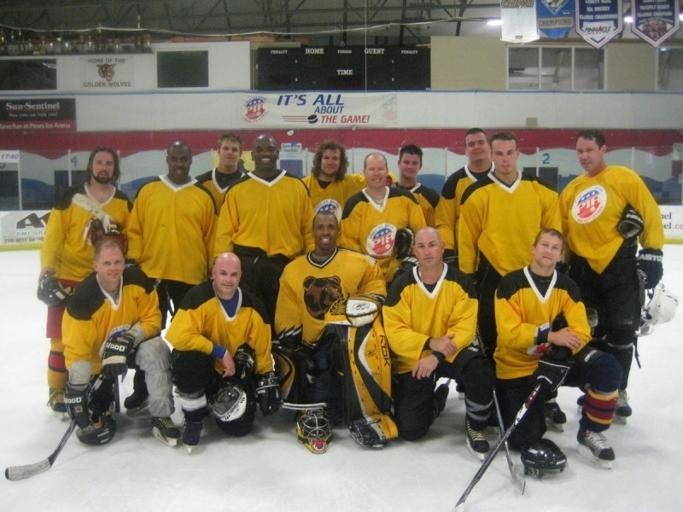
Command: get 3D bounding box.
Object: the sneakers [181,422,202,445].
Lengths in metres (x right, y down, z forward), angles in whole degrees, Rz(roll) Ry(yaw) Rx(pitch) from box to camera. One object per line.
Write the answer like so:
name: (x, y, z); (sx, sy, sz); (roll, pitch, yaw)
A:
sneakers: (-1.289, 1.546, 7.065); (0.116, 0.233, 0.093); (2, -12, -12)

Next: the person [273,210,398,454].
person: (-0.083, 0.593, 7.377); (1.195, 1.954, 1.186); (-13, 16, -43)

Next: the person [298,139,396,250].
person: (-0.172, -0.596, 8.526); (1.536, 1.079, 0.342); (5, -5, -18)

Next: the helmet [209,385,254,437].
helmet: (-0.956, 1.364, 7.224); (0.394, 0.469, 0.305); (-2, 9, -9)

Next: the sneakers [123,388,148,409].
sneakers: (-1.930, 1.377, 7.777); (0.234, 0.146, 0.112); (8, -8, -33)

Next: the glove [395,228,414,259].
glove: (0.592, -0.122, 7.795); (0.202, 0.265, 0.098); (3, -3, 37)

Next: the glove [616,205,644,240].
glove: (2.699, -0.320, 7.630); (0.228, 0.308, 0.103); (3, 9, 19)

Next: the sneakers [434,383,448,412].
sneakers: (0.929, 1.311, 7.581); (0.135, 0.077, 0.239); (-20, 34, 46)

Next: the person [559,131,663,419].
person: (2.541, 0.227, 7.804); (1.039, 2.831, 0.821); (-5, -10, 43)

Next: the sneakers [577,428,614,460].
sneakers: (2.171, 1.577, 6.890); (0.140, 0.164, 0.417); (-38, 9, -4)

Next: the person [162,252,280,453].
person: (-1.085, 0.777, 7.241); (1.031, 1.493, 0.938); (22, 19, 38)

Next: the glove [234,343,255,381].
glove: (-0.868, 0.937, 7.280); (0.217, 0.208, 0.336); (-13, 27, -8)

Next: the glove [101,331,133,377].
glove: (-1.981, 0.936, 7.207); (0.337, 0.158, 0.461); (-6, 18, -11)

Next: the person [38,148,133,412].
person: (-2.454, 0.252, 7.894); (0.989, 2.762, 0.851); (7, -6, -32)

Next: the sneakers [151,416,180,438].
sneakers: (-1.528, 1.498, 7.193); (0.289, 0.175, 0.141); (7, 11, 40)
